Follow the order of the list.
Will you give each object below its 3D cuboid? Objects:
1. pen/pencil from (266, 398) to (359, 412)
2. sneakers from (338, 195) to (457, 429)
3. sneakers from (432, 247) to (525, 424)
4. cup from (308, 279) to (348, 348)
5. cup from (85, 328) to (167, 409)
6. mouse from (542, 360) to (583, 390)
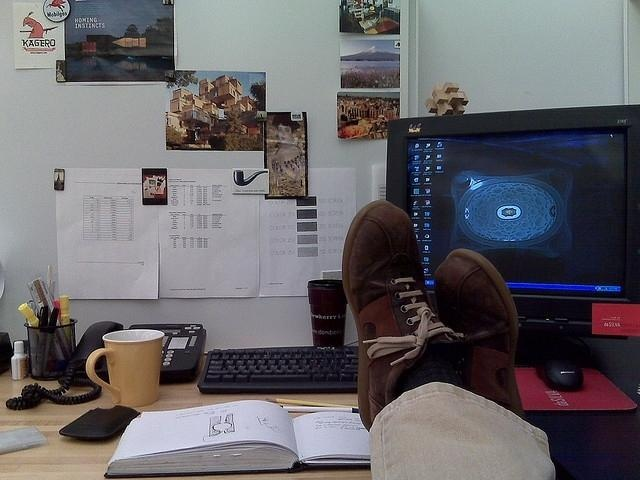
[{"bbox_3d":[-0.017,0.305,1.001,0.112,0.014,0.012,5,33,1],"label":"pen/pencil"},{"bbox_3d":[0.145,0.117,1.023,0.171,0.434,0.161,-1,3,-14],"label":"sneakers"},{"bbox_3d":[0.303,0.156,1.024,0.108,0.336,0.124,-5,-3,31],"label":"sneakers"},{"bbox_3d":[0.028,0.178,1.251,0.099,0.157,0.102,1,-5,0],"label":"cup"},{"bbox_3d":[-0.374,0.250,1.023,0.105,0.125,0.161,-1,1,27],"label":"cup"},{"bbox_3d":[0.486,0.260,1.066,0.069,0.031,0.100,-9,8,21],"label":"mouse"}]
